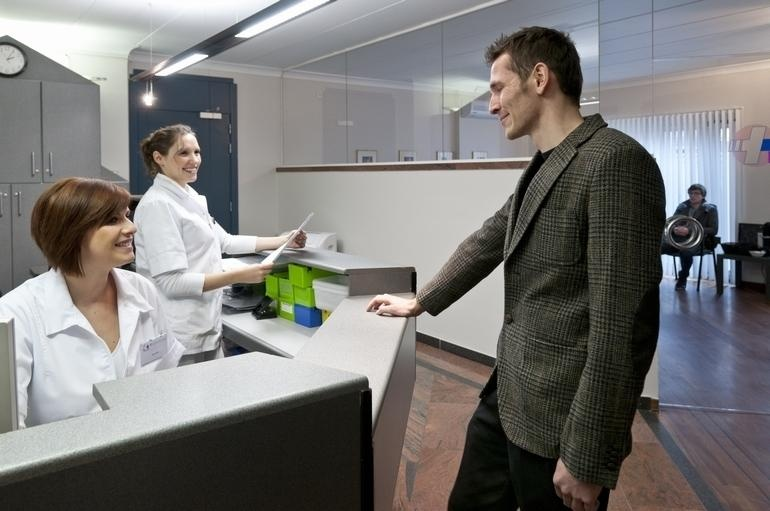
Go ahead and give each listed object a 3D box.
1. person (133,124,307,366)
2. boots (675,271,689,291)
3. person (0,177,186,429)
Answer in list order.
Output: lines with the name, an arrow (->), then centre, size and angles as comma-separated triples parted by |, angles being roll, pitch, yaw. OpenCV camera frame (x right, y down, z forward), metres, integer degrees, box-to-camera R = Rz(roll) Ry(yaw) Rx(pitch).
person -> -1.005, 0.267, 3.159 | 1.008, 1.944, 0.751 | -5, 17, -42
boots -> 2.280, 0.203, 3.906 | 0.043, 0.148, 0.061 | 4, -2, 32
person -> -1.194, 0.152, 1.988 | 0.314, 0.881, 0.667 | 2, 9, 28
